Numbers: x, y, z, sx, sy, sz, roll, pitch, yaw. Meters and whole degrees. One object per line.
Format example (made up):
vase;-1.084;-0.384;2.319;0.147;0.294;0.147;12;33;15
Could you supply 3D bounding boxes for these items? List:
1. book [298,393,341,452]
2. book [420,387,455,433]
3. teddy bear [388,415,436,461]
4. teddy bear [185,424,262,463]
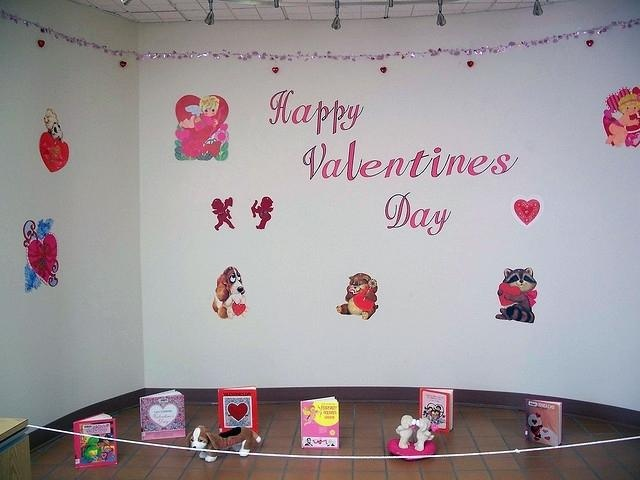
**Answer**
book;-0.012;1.719;4.302;0.387;0.444;0.427;1;-13;-1
book;1.159;1.706;4.537;0.352;0.462;0.163;-2;-3;27
teddy bear;0.857;1.839;4.175;0.348;0.276;0.378;-2;-14;14
teddy bear;-0.900;1.874;4.252;0.564;0.291;0.288;8;-20;-26
